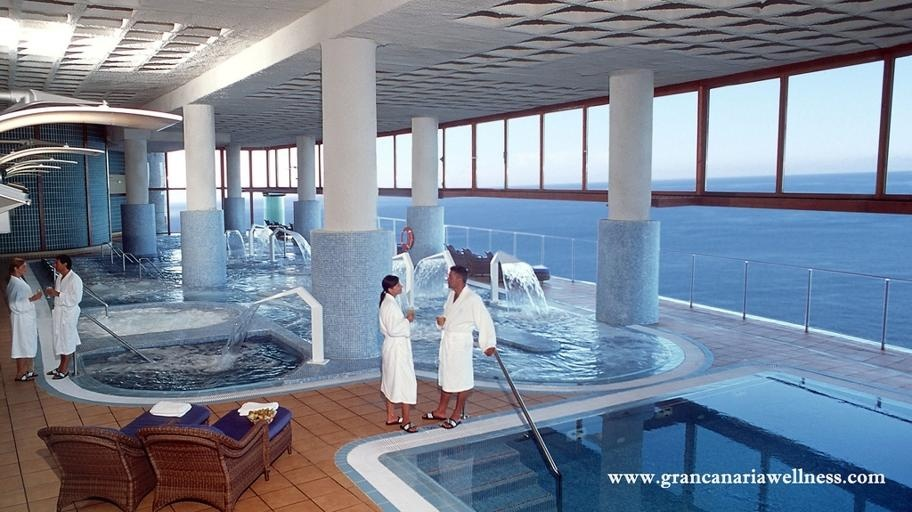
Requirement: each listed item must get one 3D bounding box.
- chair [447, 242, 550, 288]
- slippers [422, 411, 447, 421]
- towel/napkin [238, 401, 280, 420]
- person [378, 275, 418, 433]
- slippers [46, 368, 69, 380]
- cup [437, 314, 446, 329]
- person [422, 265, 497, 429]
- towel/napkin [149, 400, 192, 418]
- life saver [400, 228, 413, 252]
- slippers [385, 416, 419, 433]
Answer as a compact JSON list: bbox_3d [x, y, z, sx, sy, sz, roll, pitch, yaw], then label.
[{"bbox_3d":[1.537,0.397,19.790,3.390,1.011,1.510,-2,9,-14],"label":"chair"},{"bbox_3d":[-0.348,2.541,8.363,0.341,0.067,0.145,2,3,-2],"label":"slippers"},{"bbox_3d":[-2.756,2.120,7.223,0.354,0.044,0.277,3,10,7],"label":"towel/napkin"},{"bbox_3d":[-0.911,1.482,8.020,0.518,2.323,0.848,-3,17,-8],"label":"person"},{"bbox_3d":[-7.507,2.188,9.784,0.243,0.047,0.260,8,6,35],"label":"slippers"},{"bbox_3d":[-0.234,1.007,8.162,0.242,0.218,0.115,0,4,-16],"label":"cup"},{"bbox_3d":[0.059,1.400,8.174,1.107,2.453,1.027,3,17,11],"label":"person"},{"bbox_3d":[-4.063,2.152,7.381,0.617,0.123,0.490,1,2,-16],"label":"towel/napkin"},{"bbox_3d":[-1.867,-0.692,20.338,0.477,0.978,0.991,-1,14,-3],"label":"life saver"},{"bbox_3d":[-0.816,2.590,8.104,0.449,0.089,0.215,3,5,37],"label":"slippers"}]
